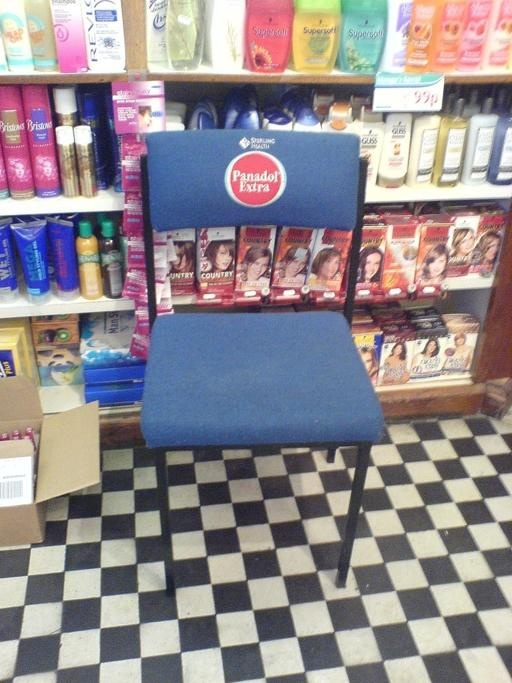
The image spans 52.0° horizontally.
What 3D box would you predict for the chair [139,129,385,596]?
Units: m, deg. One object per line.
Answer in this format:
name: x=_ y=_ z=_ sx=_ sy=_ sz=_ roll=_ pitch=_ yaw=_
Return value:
chair: x=-0.001 y=0.053 z=1.214 sx=0.505 sy=0.959 sz=0.595 roll=-1 pitch=32 yaw=-3
